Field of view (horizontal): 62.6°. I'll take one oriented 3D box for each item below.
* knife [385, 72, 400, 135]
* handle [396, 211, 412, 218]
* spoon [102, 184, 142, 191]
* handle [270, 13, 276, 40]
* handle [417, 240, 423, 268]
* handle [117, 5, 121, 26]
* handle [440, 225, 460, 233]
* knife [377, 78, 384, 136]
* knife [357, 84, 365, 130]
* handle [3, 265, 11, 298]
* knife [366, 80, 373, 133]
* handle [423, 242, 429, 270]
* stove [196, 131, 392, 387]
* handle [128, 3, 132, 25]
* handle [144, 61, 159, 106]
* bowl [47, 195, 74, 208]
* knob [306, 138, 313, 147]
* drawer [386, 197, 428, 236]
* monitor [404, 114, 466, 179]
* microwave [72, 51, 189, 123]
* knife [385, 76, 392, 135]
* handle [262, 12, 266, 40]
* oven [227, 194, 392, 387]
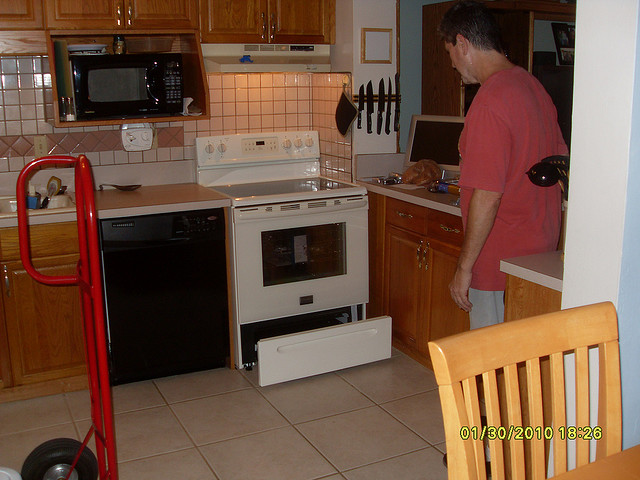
[{"bbox_3d":[0.512,-0.950,3.679,0.105,0.403,0.035,2,12,17],"label":"knife"},{"bbox_3d":[0.519,-0.153,3.228,0.032,0.022,0.119,-5,4,-20],"label":"handle"},{"bbox_3d":[-1.295,-0.344,3.429,0.249,0.043,0.081,3,5,2],"label":"spoon"},{"bbox_3d":[-0.305,-1.390,3.412,0.037,0.159,0.014,-9,16,-28],"label":"handle"},{"bbox_3d":[0.598,0.083,3.148,0.010,0.169,0.043,-8,16,-26],"label":"handle"},{"bbox_3d":[-1.168,-1.307,3.053,0.022,0.098,0.007,-6,15,-20],"label":"handle"},{"bbox_3d":[0.715,-0.061,2.909,0.017,0.026,0.118,-8,9,-30],"label":"handle"},{"bbox_3d":[0.410,-0.935,3.640,0.041,0.317,0.035,3,11,-2],"label":"knife"},{"bbox_3d":[0.282,-0.907,3.572,0.041,0.289,0.025,3,8,-3],"label":"knife"},{"bbox_3d":[-1.688,0.220,2.826,0.025,0.175,0.013,-9,17,-30],"label":"handle"},{"bbox_3d":[0.340,-0.919,3.611,0.052,0.350,0.030,-11,17,-34],"label":"knife"},{"bbox_3d":[0.626,0.091,3.109,0.005,0.167,0.043,-9,17,-29],"label":"handle"},{"bbox_3d":[-0.198,0.023,3.490,1.042,1.406,1.176,-5,15,-14],"label":"stove"},{"bbox_3d":[-1.112,-1.325,3.077,0.023,0.114,0.010,-6,15,-18],"label":"handle"},{"bbox_3d":[-1.016,-0.951,3.172,0.034,0.180,0.160,17,30,39],"label":"handle"},{"bbox_3d":[-1.590,-0.243,3.245,0.181,0.071,0.087,5,16,19],"label":"bowl"},{"bbox_3d":[-0.080,-0.717,3.854,0.043,0.047,0.045,10,16,41],"label":"knob"},{"bbox_3d":[0.532,-0.146,3.212,0.192,0.152,0.301,-6,15,-31],"label":"drawer"},{"bbox_3d":[0.770,-0.633,3.516,0.161,0.381,0.470,-9,18,-30],"label":"monitor"},{"bbox_3d":[-1.151,-0.915,3.292,0.634,0.388,0.404,-3,0,-2],"label":"microwave"},{"bbox_3d":[0.481,-0.918,3.676,0.043,0.324,0.015,-4,8,-28],"label":"knife"},{"bbox_3d":[-0.364,-1.381,3.397,0.027,0.147,0.010,-14,19,-41],"label":"handle"},{"bbox_3d":[-0.173,0.203,3.468,0.961,1.172,0.843,-4,16,-23],"label":"oven"}]
